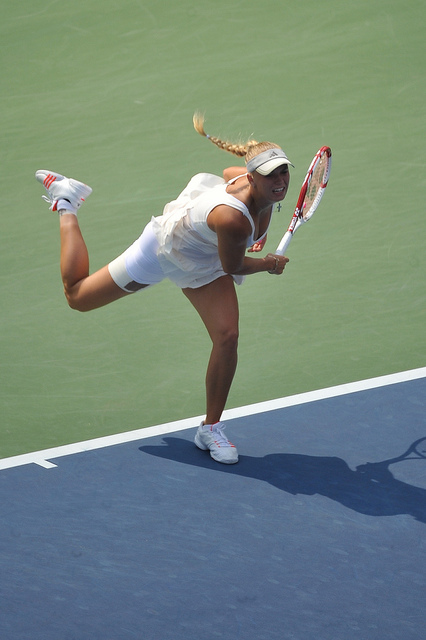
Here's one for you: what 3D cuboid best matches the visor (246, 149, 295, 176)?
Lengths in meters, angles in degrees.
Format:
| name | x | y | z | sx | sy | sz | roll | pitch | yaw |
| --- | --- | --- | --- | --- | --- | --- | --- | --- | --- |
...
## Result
| name | x | y | z | sx | sy | sz | roll | pitch | yaw |
| --- | --- | --- | --- | --- | --- | --- | --- | --- | --- |
| visor | 0.220 | -0.619 | 2.933 | 0.121 | 0.058 | 0.156 | -20 | 5 | -30 |

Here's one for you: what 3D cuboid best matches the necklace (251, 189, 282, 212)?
| name | x | y | z | sx | sy | sz | roll | pitch | yaw |
| --- | --- | --- | --- | --- | --- | --- | --- | --- | --- |
| necklace | 0.207 | -0.477 | 3.005 | 0.105 | 0.103 | 0.031 | 6 | 38 | 48 |

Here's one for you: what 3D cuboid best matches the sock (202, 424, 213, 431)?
| name | x | y | z | sx | sy | sz | roll | pitch | yaw |
| --- | --- | --- | --- | --- | --- | --- | --- | --- | --- |
| sock | -0.023 | 0.486 | 3.372 | 0.039 | 0.014 | 0.046 | 0 | -6 | -8 |
